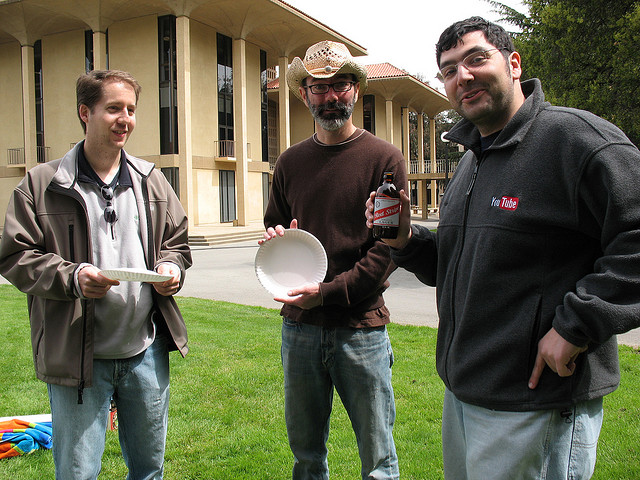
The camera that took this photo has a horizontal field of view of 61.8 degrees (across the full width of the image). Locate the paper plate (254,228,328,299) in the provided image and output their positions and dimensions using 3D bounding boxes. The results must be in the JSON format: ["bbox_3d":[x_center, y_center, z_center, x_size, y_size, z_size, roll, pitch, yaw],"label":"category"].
[{"bbox_3d":[-0.200,0.144,3.529,0.398,0.491,0.066,1,8,29],"label":"paper plate"}]

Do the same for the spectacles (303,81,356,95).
[{"bbox_3d":[0.069,-1.003,3.517,0.303,0.086,0.090,-1,7,-3],"label":"spectacles"}]

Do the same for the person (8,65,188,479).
[{"bbox_3d":[-1.316,0.240,3.229,0.980,2.553,0.667,-2,6,-18],"label":"person"}]

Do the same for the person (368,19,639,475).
[{"bbox_3d":[0.973,0.085,2.705,0.532,2.441,1.178,-5,8,-40],"label":"person"}]
